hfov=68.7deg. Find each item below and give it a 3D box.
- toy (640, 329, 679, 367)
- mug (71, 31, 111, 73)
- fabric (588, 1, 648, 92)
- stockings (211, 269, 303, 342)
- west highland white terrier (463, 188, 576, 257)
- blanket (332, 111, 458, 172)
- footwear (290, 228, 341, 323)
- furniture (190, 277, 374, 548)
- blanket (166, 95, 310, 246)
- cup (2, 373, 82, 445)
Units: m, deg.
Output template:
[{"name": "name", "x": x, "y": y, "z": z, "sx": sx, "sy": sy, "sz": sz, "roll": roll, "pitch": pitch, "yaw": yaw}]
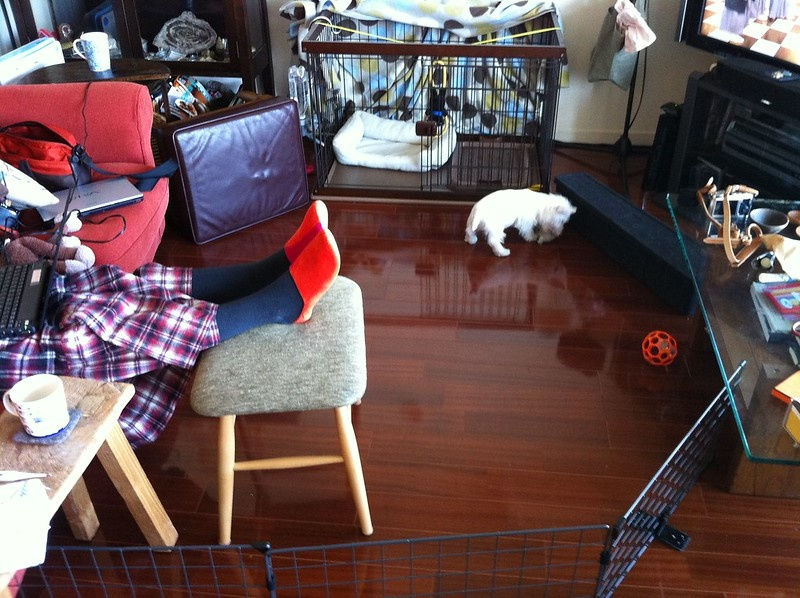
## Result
[{"name": "toy", "x": 1.026, "y": 0.196, "z": 2.372, "sx": 0.136, "sy": 0.138, "sz": 0.138, "roll": 17, "pitch": 23, "yaw": 37}, {"name": "mug", "x": -1.611, "y": -1.282, "z": 3.008, "sx": 0.178, "sy": 0.173, "sz": 0.125, "roll": 5, "pitch": 39, "yaw": -11}, {"name": "fabric", "x": 1.205, "y": -1.429, "z": 3.251, "sx": 0.158, "sy": 0.408, "sz": 0.338, "roll": 8, "pitch": 47, "yaw": -2}, {"name": "stockings", "x": -0.448, "y": 0.005, "z": 1.817, "sx": 0.394, "sy": 0.163, "sz": 0.130, "roll": -10, "pitch": 38, "yaw": 6}, {"name": "west highland white terrier", "x": 0.590, "y": -0.376, "z": 2.877, "sx": 0.500, "sy": 0.256, "sz": 0.189, "roll": -6, "pitch": 24, "yaw": -11}, {"name": "blanket", "x": -0.011, "y": -0.894, "z": 3.460, "sx": 0.570, "sy": 0.176, "sz": 0.439, "roll": 12, "pitch": 45, "yaw": -4}, {"name": "footwear", "x": -0.263, "y": -0.066, "z": 1.789, "sx": 0.094, "sy": 0.263, "sz": 0.103, "roll": 28, "pitch": 2, "yaw": 44}, {"name": "furniture", "x": -0.371, "y": 0.346, "z": 1.959, "sx": 0.559, "sy": 0.553, "sz": 0.694, "roll": -1, "pitch": 27, "yaw": 3}, {"name": "blanket", "x": -0.794, "y": -0.604, "z": 2.879, "sx": 0.707, "sy": 0.587, "sz": 0.228, "roll": -30, "pitch": 43, "yaw": -26}, {"name": "cup", "x": -0.817, "y": 0.254, "z": 1.408, "sx": 0.169, "sy": 0.127, "sz": 0.132, "roll": 0, "pitch": 45, "yaw": -10}]
